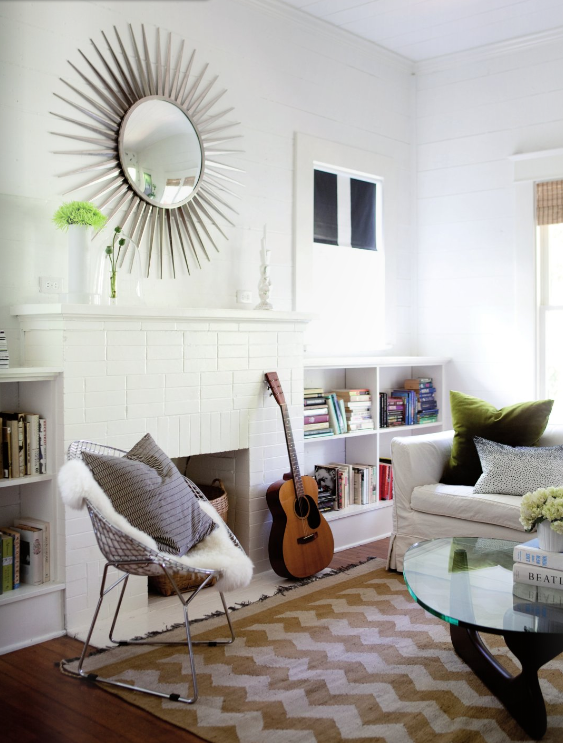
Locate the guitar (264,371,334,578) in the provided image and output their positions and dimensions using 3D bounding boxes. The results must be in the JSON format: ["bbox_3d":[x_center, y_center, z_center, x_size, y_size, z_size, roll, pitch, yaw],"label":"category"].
[{"bbox_3d":[0.075,0.511,3.041,0.389,1.030,0.222,3,-6,-42],"label":"guitar"}]

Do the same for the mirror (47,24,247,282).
[{"bbox_3d":[-0.579,-1.037,2.845,0.202,1.180,1.072,-3,-5,31],"label":"mirror"}]

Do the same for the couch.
[{"bbox_3d":[1.010,0.474,3.072,0.854,0.737,0.724,-2,-6,37],"label":"couch"}]

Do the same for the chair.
[{"bbox_3d":[-0.388,0.603,2.099,0.712,0.823,0.797,0,-4,8],"label":"chair"}]

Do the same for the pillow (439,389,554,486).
[{"bbox_3d":[1.124,0.350,3.109,0.393,0.410,0.158,8,-23,32],"label":"pillow"}]
